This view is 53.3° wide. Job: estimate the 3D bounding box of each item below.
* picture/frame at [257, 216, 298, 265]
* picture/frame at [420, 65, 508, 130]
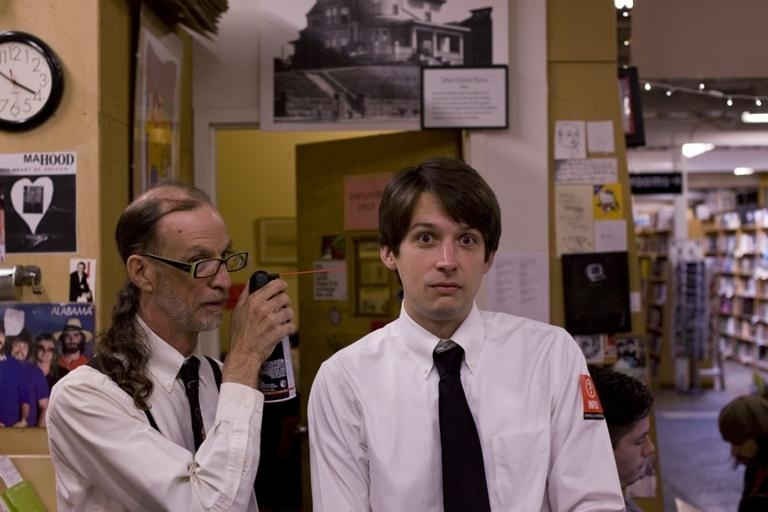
[{"bbox_3d":[-0.941,-0.160,6.686,0.361,0.427,0.039,-4,5,-5],"label":"picture/frame"},{"bbox_3d":[0.490,-0.985,4.710,0.532,0.378,0.044,0,0,-1],"label":"picture/frame"}]
